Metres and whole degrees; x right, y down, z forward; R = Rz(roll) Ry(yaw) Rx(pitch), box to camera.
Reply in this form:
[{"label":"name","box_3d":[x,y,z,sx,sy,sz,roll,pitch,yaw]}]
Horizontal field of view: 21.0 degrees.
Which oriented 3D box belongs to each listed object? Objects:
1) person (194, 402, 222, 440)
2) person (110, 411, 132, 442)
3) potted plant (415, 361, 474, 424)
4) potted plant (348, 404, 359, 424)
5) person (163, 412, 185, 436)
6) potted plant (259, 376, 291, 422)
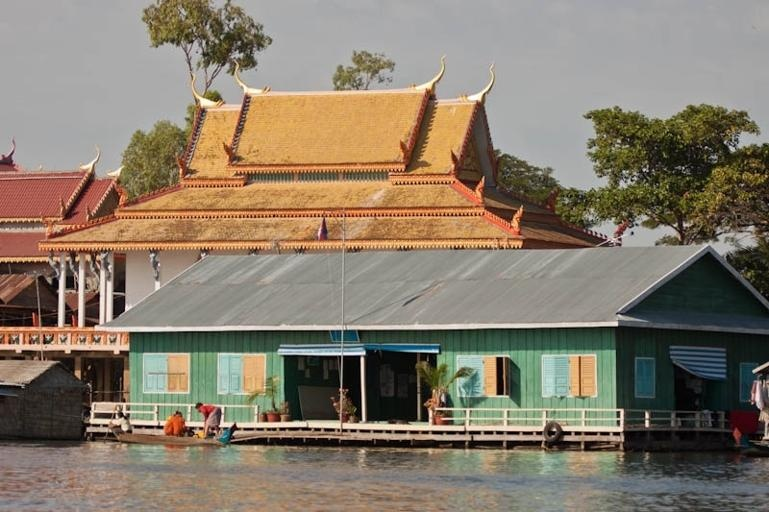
[{"label":"person","box_3d":[-6.566,5.955,77.305,0.832,1.308,0.630,-1,-14,-1]},{"label":"person","box_3d":[-10.039,6.165,78.502,0.823,1.112,0.795,-4,-14,9]},{"label":"potted plant","box_3d":[2.156,4.815,76.187,1.863,2.389,1.125,-2,-14,0]},{"label":"potted plant","box_3d":[-1.282,5.755,77.226,0.513,0.666,0.505,-4,-7,14]},{"label":"person","box_3d":[-7.871,6.137,77.629,0.917,0.979,0.786,3,3,39]},{"label":"potted plant","box_3d":[-4.189,5.213,78.151,1.777,1.920,1.448,-1,-8,-2]}]
